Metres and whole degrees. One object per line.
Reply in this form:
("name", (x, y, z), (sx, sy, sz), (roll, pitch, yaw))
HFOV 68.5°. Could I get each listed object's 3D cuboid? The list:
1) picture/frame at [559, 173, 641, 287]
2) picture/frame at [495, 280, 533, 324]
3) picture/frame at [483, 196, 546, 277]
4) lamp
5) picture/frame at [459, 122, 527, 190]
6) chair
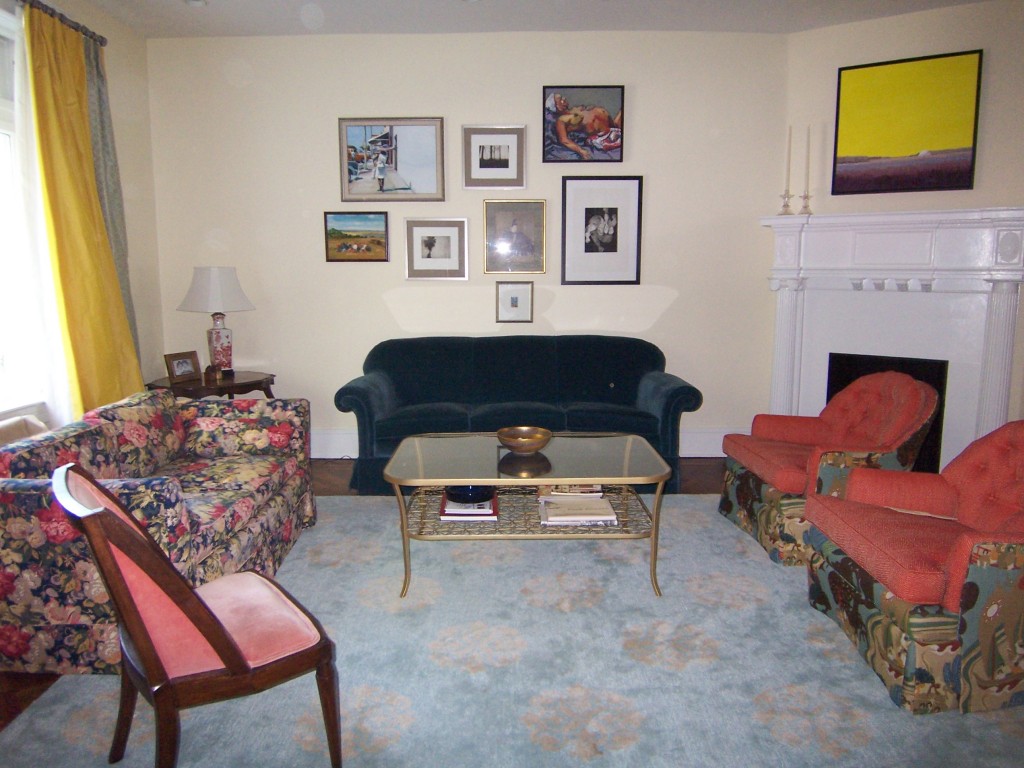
("picture/frame", (0.692, -1.243, 5.878), (0.845, 1.044, 0.036), (0, 11, 0))
("picture/frame", (0.017, -0.663, 5.959), (0.323, 0.323, 0.031), (0, 13, 0))
("picture/frame", (0.015, -1.184, 5.891), (0.593, 0.660, 0.047), (0, 14, -1))
("lamp", (-2.158, -0.462, 5.521), (0.330, 0.775, 0.406), (8, 16, 32))
("picture/frame", (-0.144, -1.785, 5.810), (0.491, 0.422, 0.049), (0, 8, -1))
("chair", (-1.284, 0.946, 2.979), (0.882, 1.222, 0.689), (-9, 24, -34))
